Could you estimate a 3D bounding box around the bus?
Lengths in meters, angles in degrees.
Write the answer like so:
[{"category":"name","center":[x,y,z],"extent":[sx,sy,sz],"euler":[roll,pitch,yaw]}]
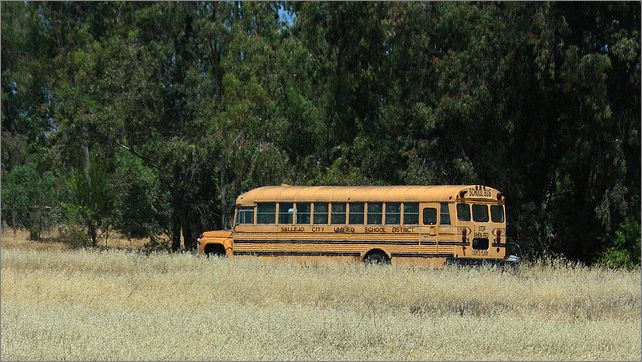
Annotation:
[{"category":"bus","center":[2.336,2.559,37.490],"extent":[15.334,4.358,1.920],"euler":[-1,0,17]}]
